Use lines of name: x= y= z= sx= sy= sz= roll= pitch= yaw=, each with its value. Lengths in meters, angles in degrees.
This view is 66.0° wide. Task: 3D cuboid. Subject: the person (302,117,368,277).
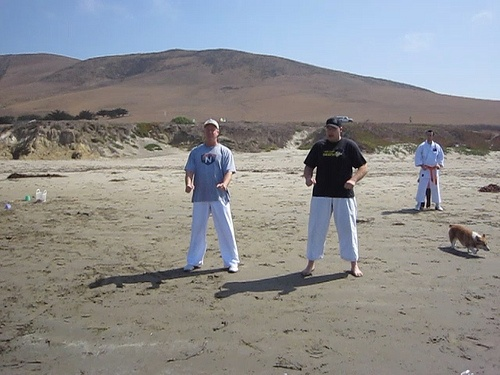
person: x=1.242 y=0.129 z=5.685 sx=0.899 sy=2.299 sz=0.674 roll=1 pitch=15 yaw=8

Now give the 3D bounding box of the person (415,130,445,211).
person: x=4.408 y=-0.427 z=9.396 sx=0.736 sy=1.885 sz=0.923 roll=6 pitch=16 yaw=25

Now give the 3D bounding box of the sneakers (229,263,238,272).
sneakers: x=-0.261 y=1.217 z=5.943 sx=0.166 sy=0.102 sz=0.236 roll=-1 pitch=15 yaw=-2

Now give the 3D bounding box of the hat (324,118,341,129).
hat: x=1.201 y=-0.933 z=5.496 sx=0.192 sy=0.151 sz=0.370 roll=5 pitch=16 yaw=20

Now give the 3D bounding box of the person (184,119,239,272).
person: x=-0.628 y=0.104 z=6.044 sx=0.880 sy=2.280 sz=1.021 roll=-1 pitch=15 yaw=-3

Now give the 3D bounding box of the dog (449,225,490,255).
dog: x=3.626 y=0.867 z=6.408 sx=0.221 sy=0.400 sz=0.766 roll=-15 pitch=22 yaw=-21
